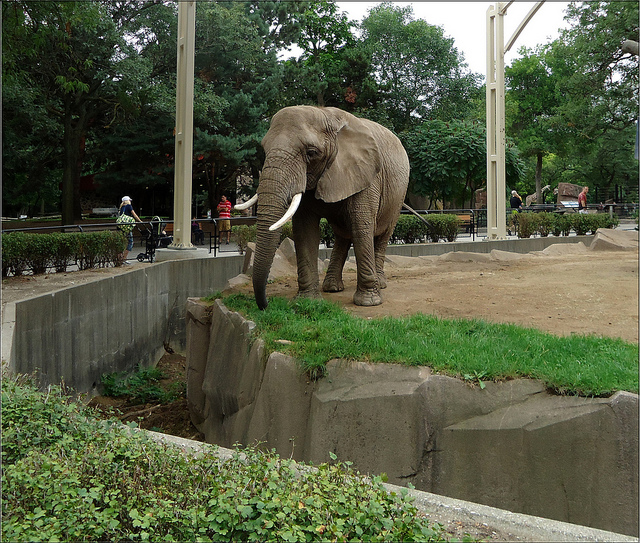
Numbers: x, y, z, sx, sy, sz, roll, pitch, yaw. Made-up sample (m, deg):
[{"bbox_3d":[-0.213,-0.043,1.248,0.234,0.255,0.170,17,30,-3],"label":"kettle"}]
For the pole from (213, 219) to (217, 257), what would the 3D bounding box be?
[{"bbox_3d":[-2.541,-0.823,14.052,0.071,0.841,0.538,-1,14,-14],"label":"pole"}]

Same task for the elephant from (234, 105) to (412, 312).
[{"bbox_3d":[0.170,-0.939,8.207,1.551,2.894,3.326,9,12,36],"label":"elephant"}]

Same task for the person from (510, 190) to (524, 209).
[{"bbox_3d":[7.755,-2.806,22.790,0.456,0.728,2.019,8,16,17],"label":"person"}]

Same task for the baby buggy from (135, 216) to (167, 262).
[{"bbox_3d":[-4.159,-0.801,14.314,0.626,0.967,1.730,-1,16,-15],"label":"baby buggy"}]
